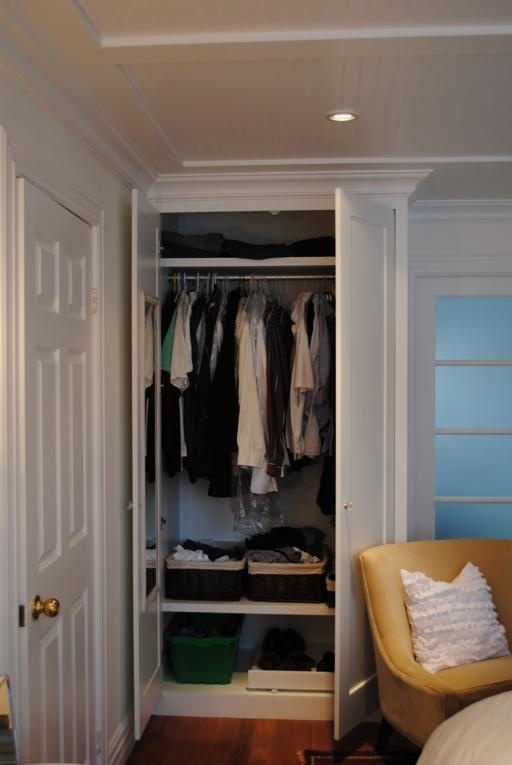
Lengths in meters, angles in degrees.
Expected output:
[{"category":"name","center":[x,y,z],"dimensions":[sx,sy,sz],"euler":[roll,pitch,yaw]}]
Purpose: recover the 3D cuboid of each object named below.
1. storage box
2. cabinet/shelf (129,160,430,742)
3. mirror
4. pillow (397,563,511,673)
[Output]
[{"category":"storage box","center":[-0.229,1.216,2.891],"dimensions":[0.202,0.178,0.357],"euler":[1,-9,2]},{"category":"cabinet/shelf","center":[0.253,0.245,2.545],"dimensions":[0.873,2.266,0.492],"euler":[-2,0,12]},{"category":"mirror","center":[-0.427,0.267,2.480],"dimensions":[0.072,1.254,0.452],"euler":[-2,0,-4]},{"category":"pillow","center":[0.737,0.858,2.277],"dimensions":[0.382,0.364,0.264],"euler":[-2,0,-14]}]
